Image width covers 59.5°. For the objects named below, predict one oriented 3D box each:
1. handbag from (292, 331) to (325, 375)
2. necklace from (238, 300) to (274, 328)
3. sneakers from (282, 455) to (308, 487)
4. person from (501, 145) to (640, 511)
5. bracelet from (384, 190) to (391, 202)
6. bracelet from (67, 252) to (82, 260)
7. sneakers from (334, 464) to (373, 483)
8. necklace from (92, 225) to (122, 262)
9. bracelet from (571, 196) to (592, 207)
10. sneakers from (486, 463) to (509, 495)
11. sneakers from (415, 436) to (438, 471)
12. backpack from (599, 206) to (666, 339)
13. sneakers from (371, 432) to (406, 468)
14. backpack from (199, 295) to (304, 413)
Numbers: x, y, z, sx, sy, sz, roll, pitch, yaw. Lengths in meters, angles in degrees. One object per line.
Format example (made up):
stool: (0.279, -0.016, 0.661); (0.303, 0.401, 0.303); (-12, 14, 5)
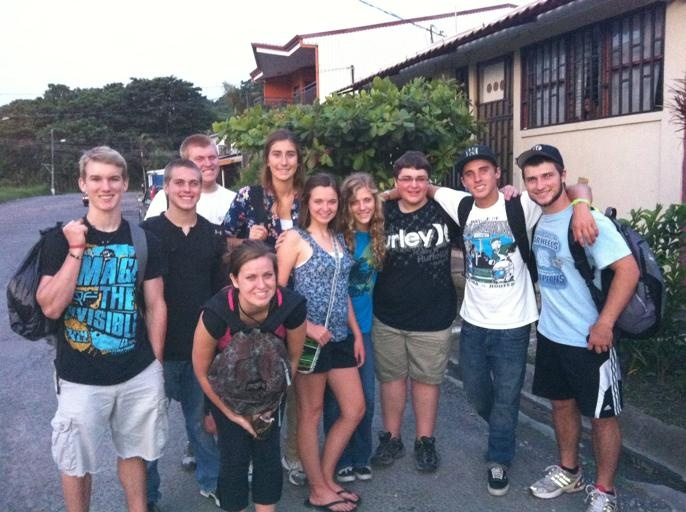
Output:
handbag: (-0.252, 0.730, 4.505); (0.181, 0.267, 0.070); (15, 3, 10)
necklace: (-0.610, 0.410, 4.071); (0.140, 0.207, 0.070); (0, 9, -13)
sneakers: (-0.403, 1.779, 4.964); (0.104, 0.229, 0.320); (-20, -18, -21)
person: (1.706, 0.529, 4.494); (0.504, 2.659, 0.835); (-14, 17, -41)
bracelet: (0.378, -0.530, 5.193); (0.068, 0.098, 0.086); (-2, -4, -16)
bracelet: (-1.756, -0.006, 3.920); (0.074, 0.044, 0.028); (-3, 13, 4)
sneakers: (0.089, 1.783, 4.911); (0.282, 0.122, 0.118); (3, 4, -8)
necklace: (-1.626, -0.079, 4.098); (0.222, 0.247, 0.103); (-1, 3, -19)
bracelet: (1.764, -0.401, 4.449); (0.136, 0.066, 0.192); (2, 15, 21)
sneakers: (1.225, 1.768, 4.721); (0.102, 0.113, 0.274); (-3, 19, 6)
sneakers: (0.706, 1.662, 5.020); (0.134, 0.142, 0.294); (-1, 3, 0)
backpack: (2.126, 0.141, 4.365); (0.354, 0.917, 0.408); (-3, 13, 1)
sneakers: (0.372, 1.652, 5.124); (0.158, 0.227, 0.344); (-3, -1, 31)
backpack: (-0.628, 0.631, 4.009); (0.718, 0.892, 0.458); (-2, 6, -21)
